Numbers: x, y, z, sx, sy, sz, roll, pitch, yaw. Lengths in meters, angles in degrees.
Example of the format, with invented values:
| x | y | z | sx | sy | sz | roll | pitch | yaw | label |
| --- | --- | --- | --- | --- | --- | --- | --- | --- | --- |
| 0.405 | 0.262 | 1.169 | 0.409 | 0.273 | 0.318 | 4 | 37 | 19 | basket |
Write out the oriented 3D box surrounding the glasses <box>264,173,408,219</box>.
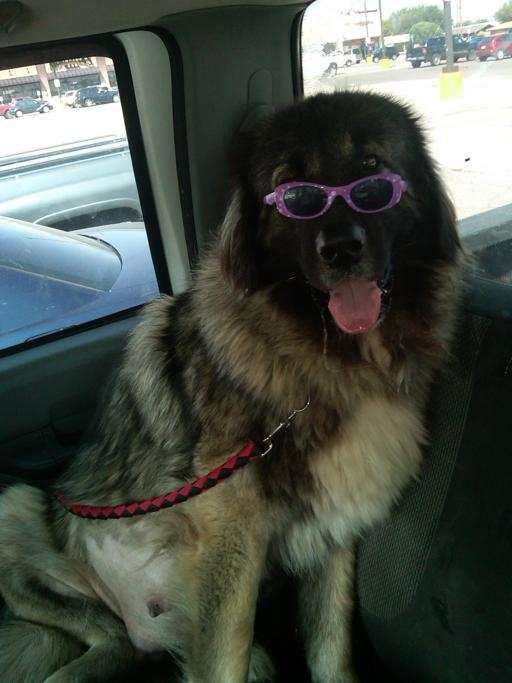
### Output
| x | y | z | sx | sy | sz | roll | pitch | yaw | label |
| --- | --- | --- | --- | --- | --- | --- | --- | --- | --- |
| 0.207 | -0.362 | 1.407 | 0.319 | 0.097 | 0.089 | -2 | 29 | 7 | glasses |
